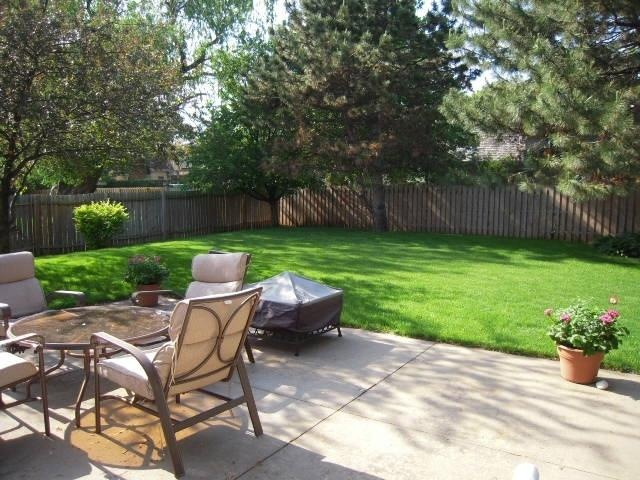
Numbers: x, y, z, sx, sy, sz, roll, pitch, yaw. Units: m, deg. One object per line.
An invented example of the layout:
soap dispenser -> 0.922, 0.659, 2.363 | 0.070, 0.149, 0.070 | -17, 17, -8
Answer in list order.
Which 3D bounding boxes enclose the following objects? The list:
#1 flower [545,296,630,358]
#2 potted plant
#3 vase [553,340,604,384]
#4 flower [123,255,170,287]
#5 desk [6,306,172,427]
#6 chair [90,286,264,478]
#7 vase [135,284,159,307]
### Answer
flower -> 3.179, 1.043, 5.980 | 0.692, 0.406, 0.754 | -4, -4, 21
potted plant -> -6.846, -0.432, 15.557 | 1.413, 1.425, 0.541 | -2, 3, -30
vase -> 3.125, 1.477, 5.966 | 0.475, 0.407, 0.509 | -3, -2, 21
flower -> -3.230, 0.593, 9.422 | 0.622, 0.516, 0.617 | 2, 6, -3
desk -> -2.598, 1.534, 5.914 | 1.227, 0.727, 1.311 | 8, 15, 19
chair -> -1.244, 1.117, 5.312 | 1.644, 2.009, 1.394 | 6, 7, 36
vase -> -2.894, 0.939, 8.329 | 0.358, 0.319, 0.387 | 1, -1, -1
